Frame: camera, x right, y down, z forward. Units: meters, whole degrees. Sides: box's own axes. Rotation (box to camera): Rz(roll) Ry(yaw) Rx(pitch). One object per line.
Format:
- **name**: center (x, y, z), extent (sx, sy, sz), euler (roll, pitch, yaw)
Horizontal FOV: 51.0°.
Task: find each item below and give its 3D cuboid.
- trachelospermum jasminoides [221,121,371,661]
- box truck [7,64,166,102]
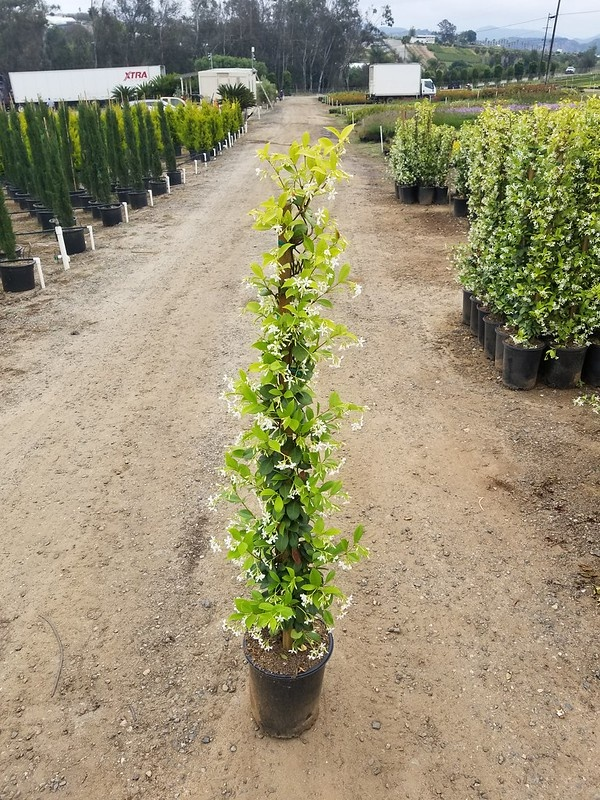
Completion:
- **trachelospermum jasminoides**: center (-0.033, 0.214, 2.900), extent (0.696, 2.645, 0.927), euler (5, 26, 10)
- **box truck**: center (-13.319, -19.503, 38.948), extent (8.434, 2.022, 2.293), euler (-13, 29, -24)
